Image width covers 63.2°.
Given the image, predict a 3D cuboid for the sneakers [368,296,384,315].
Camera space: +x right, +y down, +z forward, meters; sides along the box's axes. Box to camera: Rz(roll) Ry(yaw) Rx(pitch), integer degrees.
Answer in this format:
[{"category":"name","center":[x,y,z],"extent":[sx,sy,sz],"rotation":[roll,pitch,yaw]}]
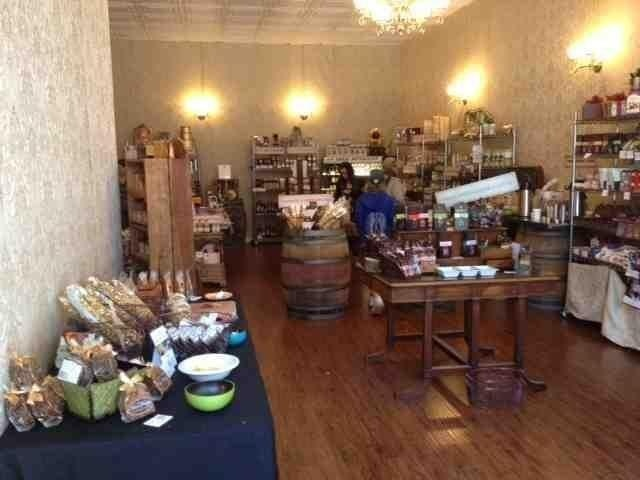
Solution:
[{"category":"sneakers","center":[0.522,0.620,4.938],"extent":[0.167,0.161,0.169],"rotation":[-1,4,0]}]

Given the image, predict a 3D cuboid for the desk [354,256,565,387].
[{"category":"desk","center":[1.039,0.634,4.273],"extent":[1.302,0.897,1.329],"rotation":[-4,10,-17]}]

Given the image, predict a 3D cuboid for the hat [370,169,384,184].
[{"category":"hat","center":[0.753,-0.827,6.820],"extent":[0.150,0.192,0.203],"rotation":[4,18,7]}]
